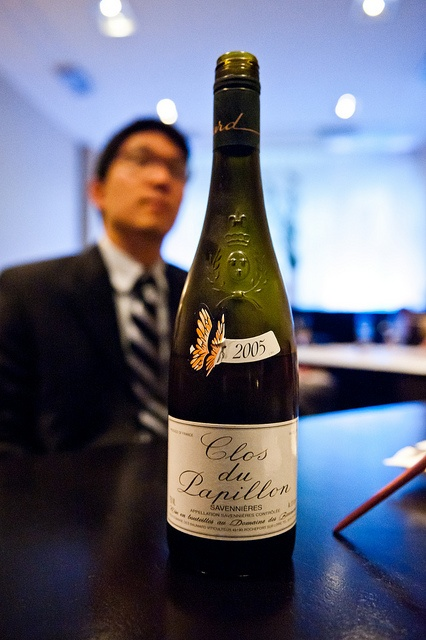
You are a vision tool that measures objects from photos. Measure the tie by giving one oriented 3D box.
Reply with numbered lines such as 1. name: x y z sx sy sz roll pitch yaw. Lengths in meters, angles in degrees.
1. tie: -0.106 0.050 0.921 0.065 0.260 0.066 5 6 44
